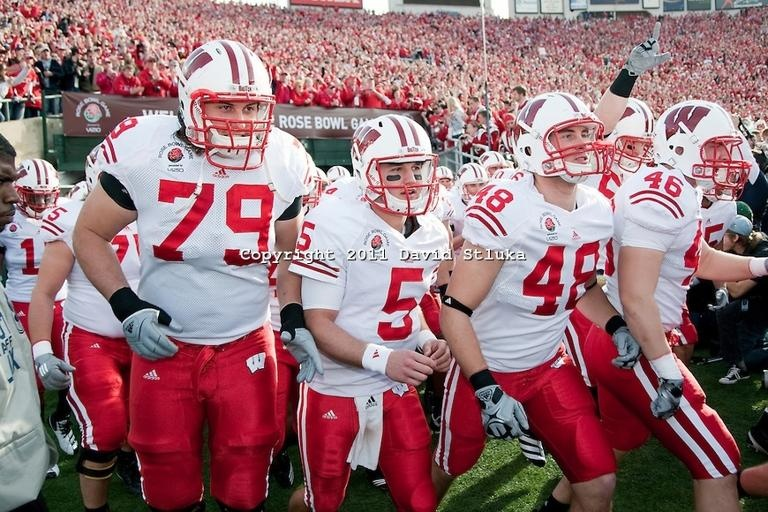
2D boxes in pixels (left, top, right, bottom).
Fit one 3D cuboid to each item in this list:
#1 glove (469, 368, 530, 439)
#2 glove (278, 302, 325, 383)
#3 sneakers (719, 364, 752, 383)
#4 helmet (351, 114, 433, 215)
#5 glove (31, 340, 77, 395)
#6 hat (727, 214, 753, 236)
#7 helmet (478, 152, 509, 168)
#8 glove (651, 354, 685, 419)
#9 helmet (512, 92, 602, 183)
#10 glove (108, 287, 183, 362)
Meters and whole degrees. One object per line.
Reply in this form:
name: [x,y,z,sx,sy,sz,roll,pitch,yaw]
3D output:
glove: [0.658,0.871,3.933,0.272,0.411,0.175,-17,-3,28]
glove: [-0.477,0.529,4.023,0.227,0.460,0.298,-3,14,-9]
sneakers: [3.217,1.116,6.443,0.314,0.141,0.124,-1,-10,-10]
helmet: [0.036,-0.597,4.253,0.455,0.505,0.606,-10,28,-28]
glove: [-2.090,0.685,4.354,0.130,0.354,0.262,-36,-12,-22]
hat: [3.198,-0.270,6.262,0.126,0.104,0.181,6,29,-17]
helmet: [1.328,-1.223,8.575,0.323,0.178,0.213,9,19,29]
glove: [1.671,0.779,4.094,0.200,0.382,0.153,-4,0,15]
helmet: [1.049,-0.743,4.229,0.444,0.501,0.579,-9,14,-40]
glove: [-1.356,0.404,3.929,0.425,0.426,0.197,5,15,21]
